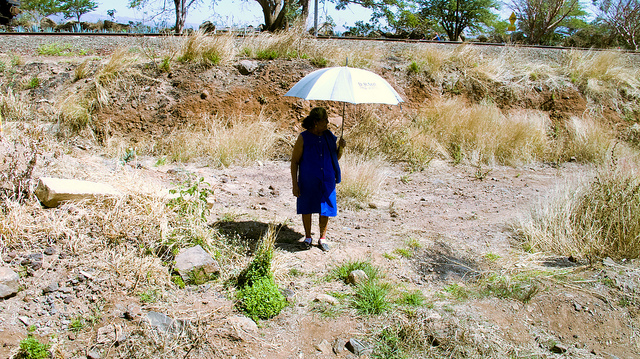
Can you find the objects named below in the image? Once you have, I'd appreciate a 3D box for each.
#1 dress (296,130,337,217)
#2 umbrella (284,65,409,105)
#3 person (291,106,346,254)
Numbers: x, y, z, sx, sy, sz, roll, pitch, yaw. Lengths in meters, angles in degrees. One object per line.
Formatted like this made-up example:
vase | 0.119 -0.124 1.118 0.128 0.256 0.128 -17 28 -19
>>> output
dress | -0.029 -0.103 9.010 0.740 1.445 0.605 5 26 -5
umbrella | 0.518 -1.714 9.008 1.208 0.422 1.201 7 3 -8
person | -0.048 -0.022 9.027 0.896 2.470 1.210 -3 28 -21
